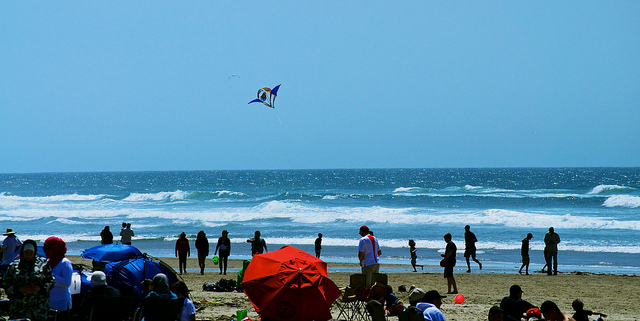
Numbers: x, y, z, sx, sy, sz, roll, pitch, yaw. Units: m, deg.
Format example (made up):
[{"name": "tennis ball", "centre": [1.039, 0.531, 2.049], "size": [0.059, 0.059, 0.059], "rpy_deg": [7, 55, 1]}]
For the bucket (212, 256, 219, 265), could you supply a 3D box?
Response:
[{"name": "bucket", "centre": [-12.642, 12.239, 113.203], "size": [0.887, 0.842, 0.974], "rpy_deg": [2, 32, -1]}]
